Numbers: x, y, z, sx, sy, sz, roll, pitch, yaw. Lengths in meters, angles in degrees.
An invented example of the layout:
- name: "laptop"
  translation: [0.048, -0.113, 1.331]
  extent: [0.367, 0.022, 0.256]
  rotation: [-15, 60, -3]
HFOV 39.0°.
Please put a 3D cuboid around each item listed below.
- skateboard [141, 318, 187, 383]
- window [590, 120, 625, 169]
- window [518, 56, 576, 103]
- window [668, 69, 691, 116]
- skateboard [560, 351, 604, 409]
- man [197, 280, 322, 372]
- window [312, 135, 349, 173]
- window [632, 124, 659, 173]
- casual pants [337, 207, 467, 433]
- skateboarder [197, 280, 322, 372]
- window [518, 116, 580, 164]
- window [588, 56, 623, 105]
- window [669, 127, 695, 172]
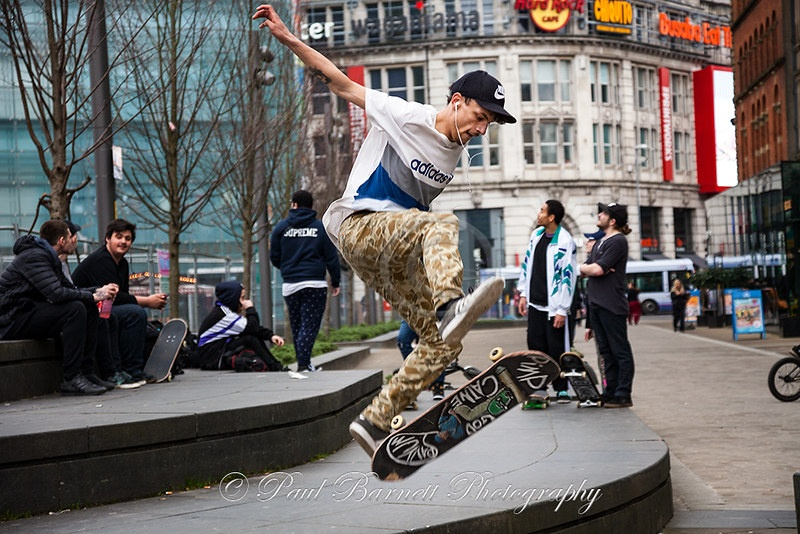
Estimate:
- name: "skateboard"
  translation: [-3.793, 1.354, 18.251]
  extent: [0.395, 1.280, 0.187]
  rotation: [11, -27, 29]
- name: "window"
  translation: [11.305, -6.793, 62.259]
  extent: [2.528, 3.836, 0.584]
  rotation: [3, -11, -42]
- name: "window"
  translation: [7.799, -10.228, 61.237]
  extent: [2.341, 1.926, 0.329]
  rotation: [1, 3, -7]
- name: "window"
  translation: [16.821, -10.707, 68.531]
  extent: [0.206, 3.083, 2.477]
  rotation: [-1, 11, 33]
- name: "skateboard"
  translation: [2.882, 1.806, 18.047]
  extent: [0.375, 1.253, 0.223]
  rotation: [-9, 39, 23]
- name: "man"
  translation: [-2.718, 1.127, 20.077]
  extent: [1.768, 1.820, 1.109]
  rotation: [-1, -2, -24]
- name: "window"
  translation: [-2.175, -3.472, 34.490]
  extent: [0.097, 1.146, 1.494]
  rotation: [-3, 1, 34]
- name: "window"
  translation: [13.924, -6.800, 64.688]
  extent: [0.402, 2.673, 2.703]
  rotation: [-12, -3, 33]
- name: "casual pants"
  translation: [0.048, 0.668, 14.409]
  extent: [1.518, 2.813, 0.663]
  rotation: [0, 1, 6]
- name: "skateboarder"
  translation: [-2.622, 1.117, 19.831]
  extent: [1.768, 1.820, 1.109]
  rotation: [-1, -2, -24]
- name: "window"
  translation: [7.864, -6.864, 60.951]
  extent: [2.424, 2.244, 0.280]
  rotation: [0, -1, -5]
- name: "window"
  translation: [11.249, -10.450, 62.602]
  extent: [0.221, 2.816, 2.776]
  rotation: [0, 0, 44]
- name: "window"
  translation: [16.943, -7.111, 68.438]
  extent: [0.209, 3.182, 2.534]
  rotation: [-2, 4, 33]
